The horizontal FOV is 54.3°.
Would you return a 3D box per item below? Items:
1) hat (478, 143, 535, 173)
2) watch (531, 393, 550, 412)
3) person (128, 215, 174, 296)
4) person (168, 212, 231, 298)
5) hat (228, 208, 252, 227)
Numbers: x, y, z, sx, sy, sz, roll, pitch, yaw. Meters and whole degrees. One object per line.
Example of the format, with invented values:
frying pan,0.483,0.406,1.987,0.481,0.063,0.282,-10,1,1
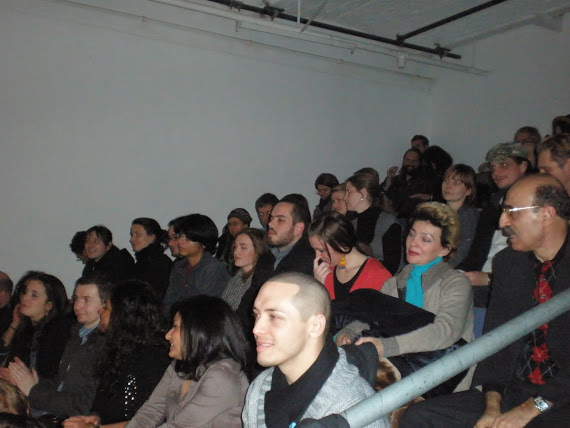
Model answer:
hat,1.992,-0.534,4.952,0.458,0.216,0.333,6,-14,-9
watch,1.580,1.168,3.392,0.114,0.103,0.025,0,-11,-6
person,-1.483,0.467,6.149,0.387,0.330,0.835,3,19,-15
person,-0.880,0.446,5.739,0.497,0.807,0.826,8,-9,-30
hat,-0.514,0.027,7.054,0.257,0.178,0.251,35,-22,-35
